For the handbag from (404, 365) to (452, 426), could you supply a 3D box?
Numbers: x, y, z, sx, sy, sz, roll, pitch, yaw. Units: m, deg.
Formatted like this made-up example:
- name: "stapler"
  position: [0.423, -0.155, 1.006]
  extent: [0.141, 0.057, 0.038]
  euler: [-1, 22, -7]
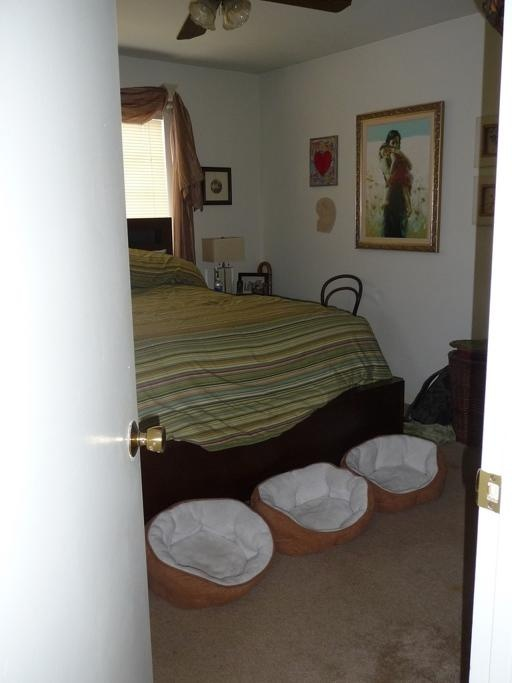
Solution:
- name: "handbag"
  position: [1.257, 0.389, 3.748]
  extent: [0.364, 0.396, 0.319]
  euler: [-3, 5, -4]

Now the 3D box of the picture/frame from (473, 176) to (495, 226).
- name: "picture/frame"
  position: [1.531, -0.934, 3.433]
  extent: [0.027, 0.289, 0.161]
  euler: [-18, 21, -32]

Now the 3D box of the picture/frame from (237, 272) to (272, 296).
- name: "picture/frame"
  position: [-0.017, -0.561, 5.090]
  extent: [0.295, 0.300, 0.164]
  euler: [3, 12, 19]

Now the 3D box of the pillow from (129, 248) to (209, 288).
- name: "pillow"
  position: [-0.755, -0.557, 4.112]
  extent: [0.377, 0.165, 0.495]
  euler: [-10, 17, -36]

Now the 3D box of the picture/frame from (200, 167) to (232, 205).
- name: "picture/frame"
  position: [-0.397, -1.500, 4.981]
  extent: [0.028, 0.428, 0.406]
  euler: [10, 14, 44]

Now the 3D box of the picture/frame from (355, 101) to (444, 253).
- name: "picture/frame"
  position: [1.072, -1.235, 3.996]
  extent: [0.099, 1.091, 0.827]
  euler: [-6, 10, -32]
